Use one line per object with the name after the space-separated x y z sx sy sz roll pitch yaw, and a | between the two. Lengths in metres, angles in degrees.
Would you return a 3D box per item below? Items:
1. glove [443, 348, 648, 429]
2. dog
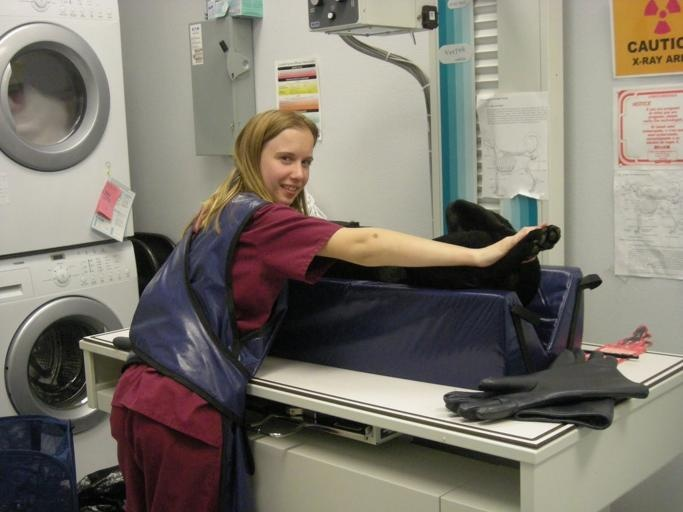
0.476 0.327 1.301 0.470 0.095 0.182 -8 13 -2 | glove
0.303 -0.003 1.621 0.667 0.289 0.248 2 15 36 | dog
